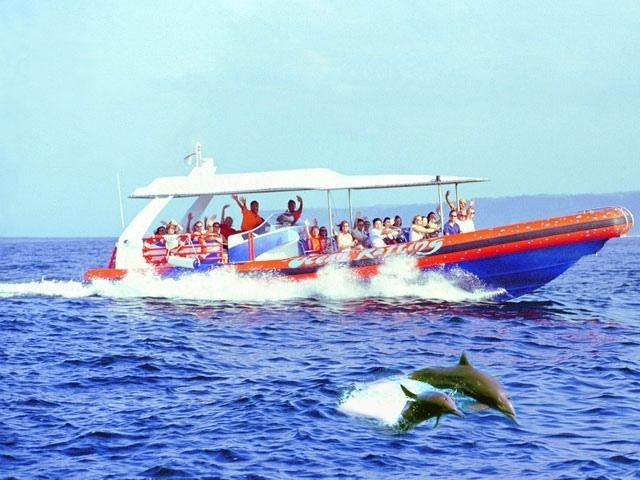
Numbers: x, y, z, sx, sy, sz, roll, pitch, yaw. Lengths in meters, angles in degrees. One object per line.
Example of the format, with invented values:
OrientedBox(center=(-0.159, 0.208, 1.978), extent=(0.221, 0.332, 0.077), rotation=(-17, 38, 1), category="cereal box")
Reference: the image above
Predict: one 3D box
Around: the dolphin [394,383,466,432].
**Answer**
OrientedBox(center=(1.653, 2.458, 16.894), extent=(0.503, 0.585, 1.220), rotation=(4, -15, -42), category="dolphin")

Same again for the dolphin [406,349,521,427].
OrientedBox(center=(2.258, 2.162, 16.960), extent=(1.750, 0.785, 0.696), rotation=(25, 6, 28), category="dolphin")
